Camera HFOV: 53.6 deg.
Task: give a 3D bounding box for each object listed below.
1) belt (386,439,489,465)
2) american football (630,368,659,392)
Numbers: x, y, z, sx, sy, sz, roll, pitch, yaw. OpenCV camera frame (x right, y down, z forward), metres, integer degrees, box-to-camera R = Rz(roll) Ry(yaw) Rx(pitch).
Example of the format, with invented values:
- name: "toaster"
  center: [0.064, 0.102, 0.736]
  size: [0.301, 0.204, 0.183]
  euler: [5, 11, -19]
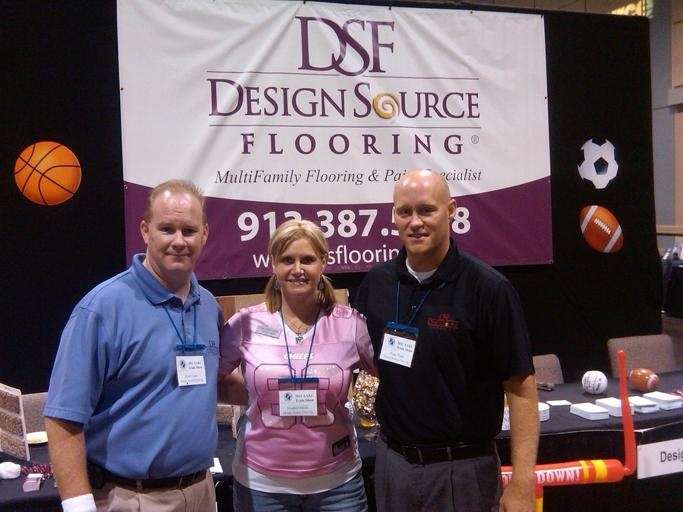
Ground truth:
- name: "belt"
  center: [0.477, 0.922, 3.237]
  size: [0.520, 0.104, 0.108]
  euler: [-6, 0, 5]
- name: "american football"
  center: [2.010, 0.811, 4.489]
  size: [0.155, 0.148, 0.128]
  euler: [12, -1, 35]
